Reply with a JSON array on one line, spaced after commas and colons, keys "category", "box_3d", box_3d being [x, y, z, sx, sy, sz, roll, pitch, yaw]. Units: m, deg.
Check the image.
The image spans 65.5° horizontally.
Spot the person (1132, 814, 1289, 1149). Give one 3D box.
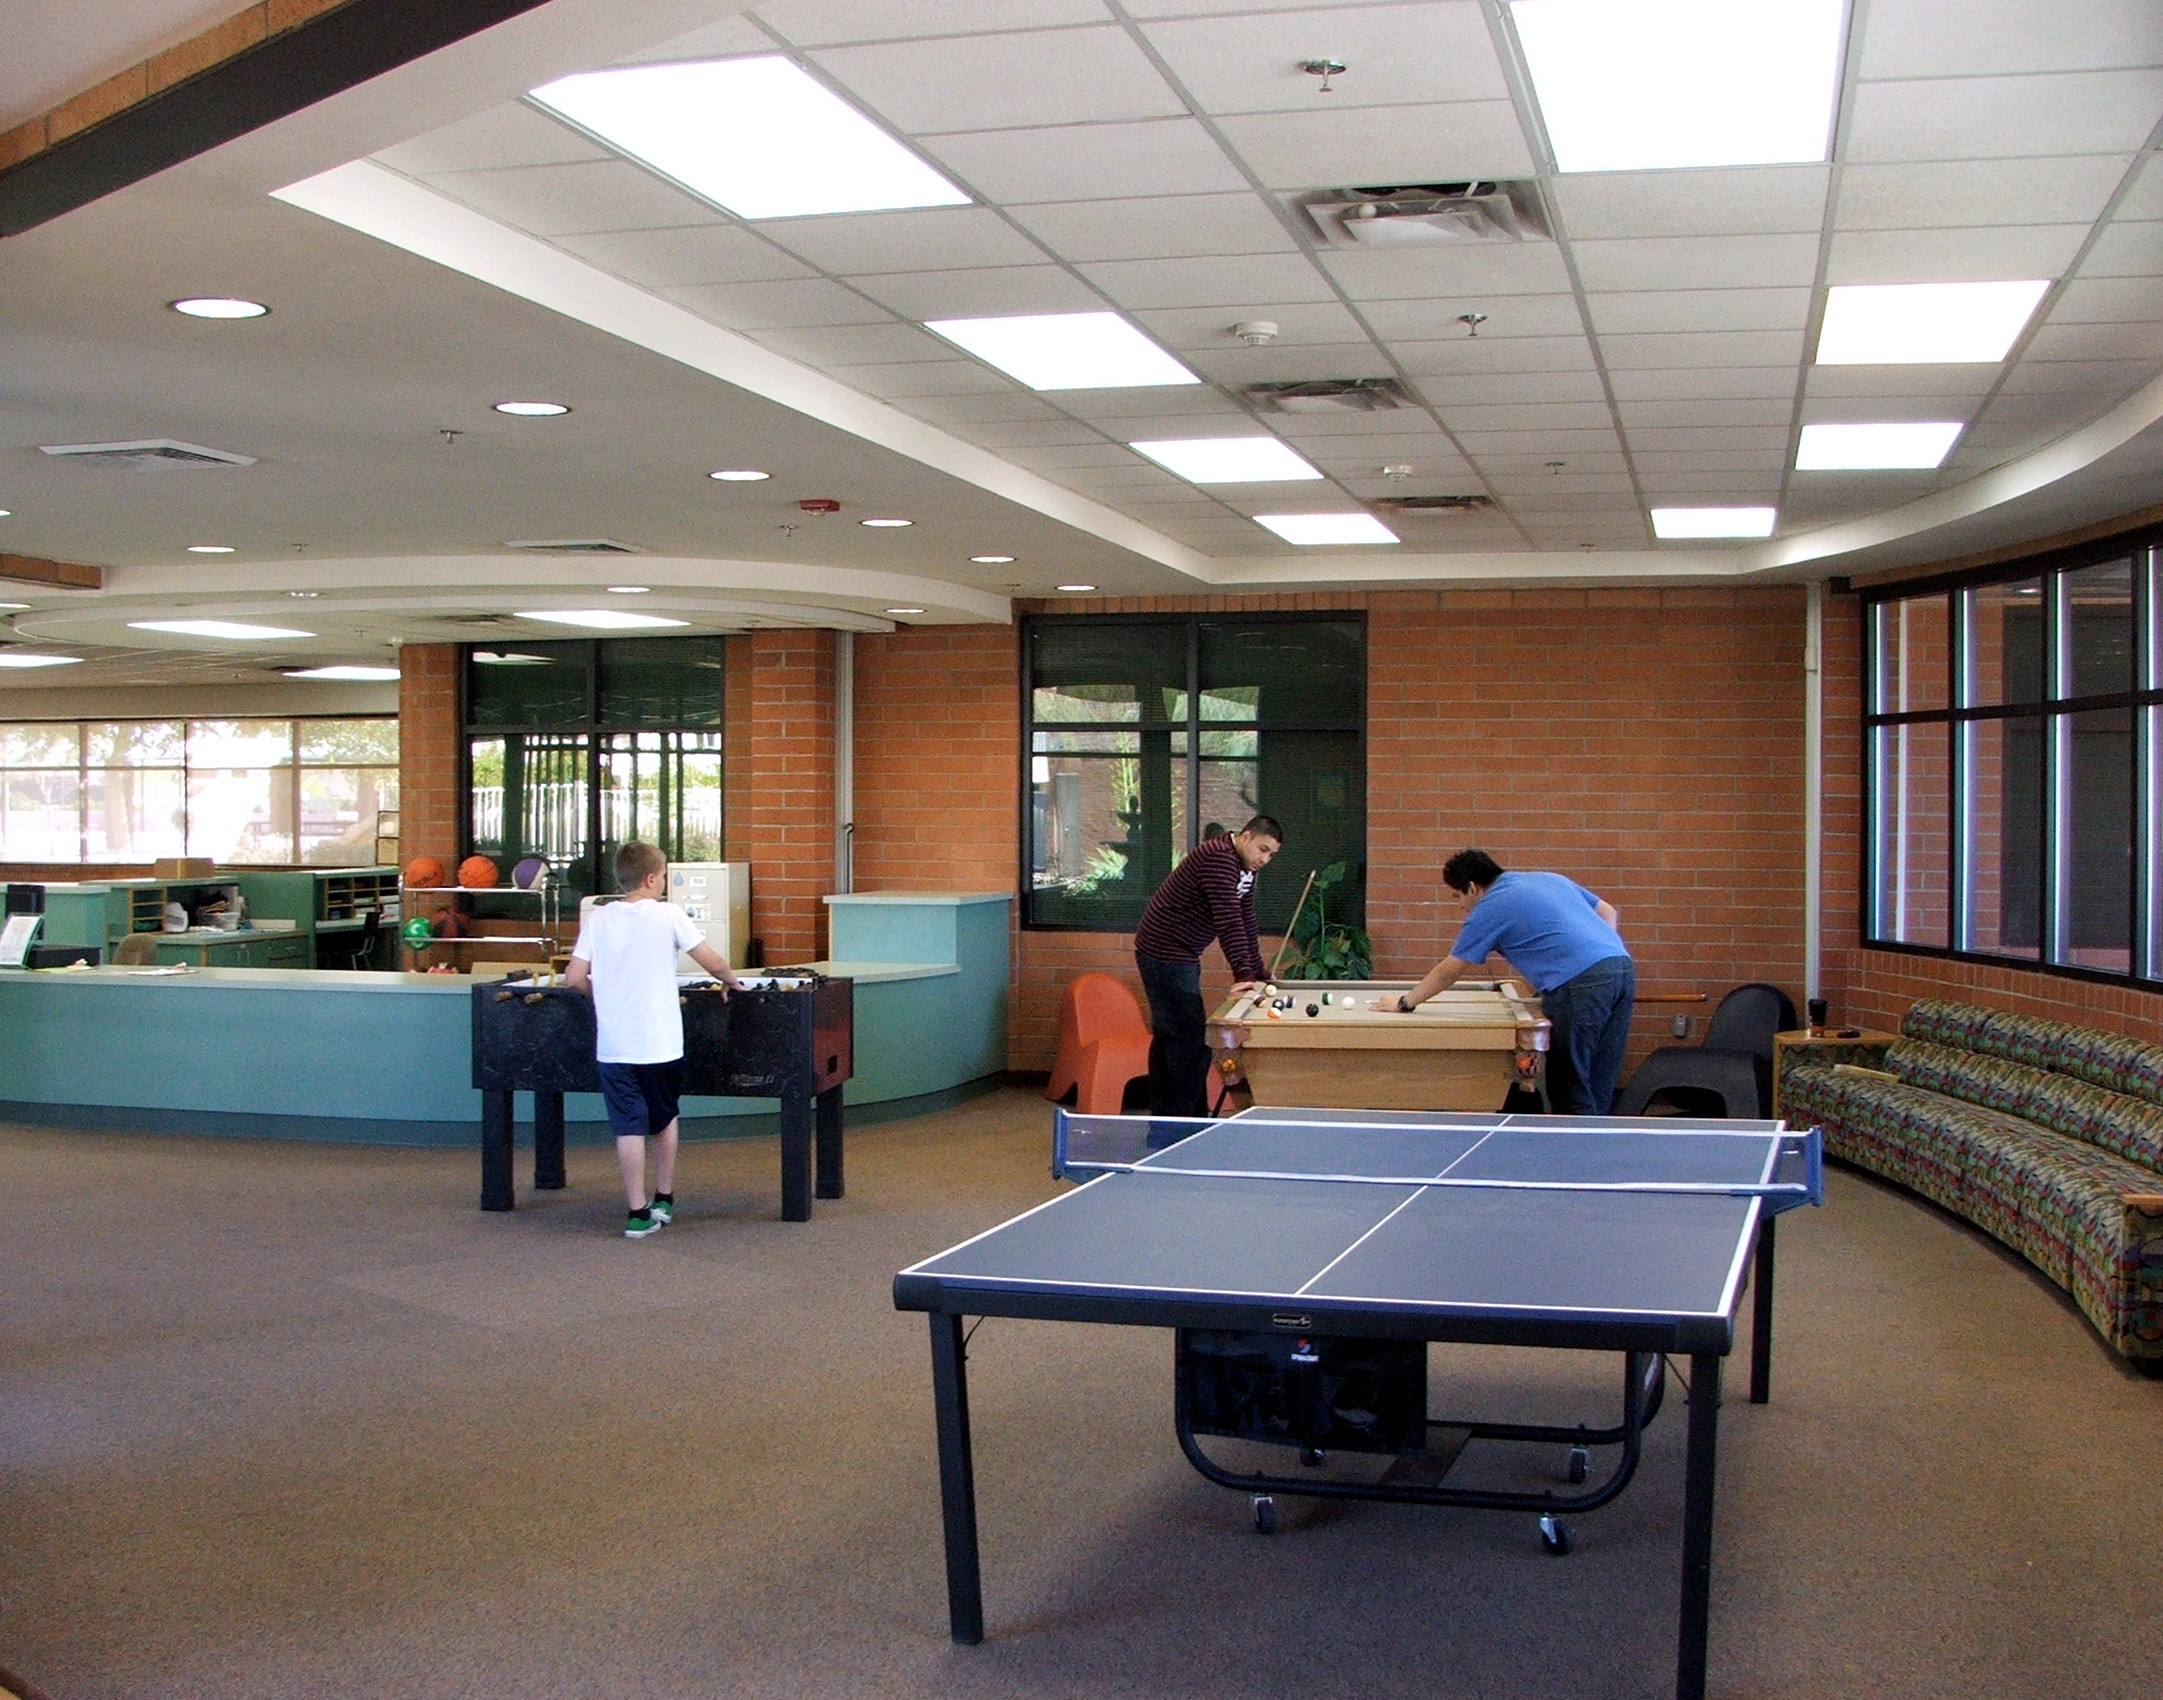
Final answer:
[{"category": "person", "box_3d": [0.783, 0.703, 9.030, 0.684, 1.658, 0.910, -2, 4, -44]}]

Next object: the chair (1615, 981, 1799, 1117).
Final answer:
[{"category": "chair", "box_3d": [3.859, 1.301, 10.599, 0.770, 0.720, 1.136, 0, -12, 39]}]

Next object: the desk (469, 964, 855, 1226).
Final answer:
[{"category": "desk", "box_3d": [-1.903, 0.946, 7.973, 1.888, 1.022, 1.234, -1, -2, 10]}]

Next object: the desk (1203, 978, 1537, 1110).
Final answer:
[{"category": "desk", "box_3d": [1.392, 1.029, 8.255, 1.679, 0.553, 1.712, 4, 0, 11]}]

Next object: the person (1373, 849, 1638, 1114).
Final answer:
[{"category": "person", "box_3d": [2.168, 0.532, 7.788, 0.977, 1.397, 0.693, 0, 0, 30]}]

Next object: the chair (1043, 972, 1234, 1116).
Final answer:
[{"category": "chair", "box_3d": [0.345, 1.251, 10.696, 0.945, 0.870, 1.037, 0, -1, -2]}]

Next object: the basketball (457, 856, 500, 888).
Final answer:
[{"category": "basketball", "box_3d": [-4.734, 0.187, 13.264, 0.300, 0.221, 0.281, 6, -9, -38]}]

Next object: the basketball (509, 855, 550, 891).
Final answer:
[{"category": "basketball", "box_3d": [-4.398, 0.194, 13.298, 0.300, 0.282, 0.224, 1, 2, 11]}]

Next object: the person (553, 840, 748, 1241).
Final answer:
[{"category": "person", "box_3d": [-1.928, 0.852, 7.488, 0.746, 1.734, 0.621, 0, 3, -10]}]
